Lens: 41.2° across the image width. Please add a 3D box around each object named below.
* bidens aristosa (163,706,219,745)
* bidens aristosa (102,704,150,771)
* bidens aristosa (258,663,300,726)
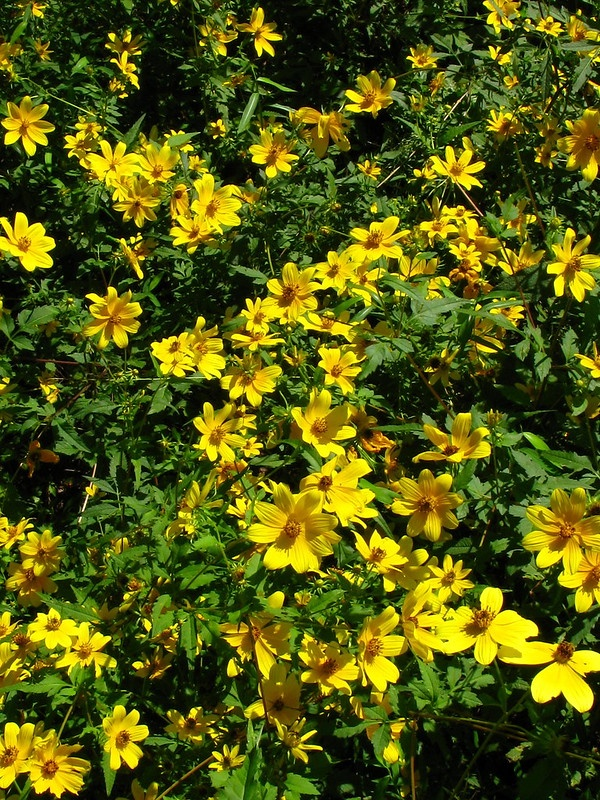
[{"bbox_3d":[-0.270,0.783,1.920,0.164,0.084,0.072,-1,-10,42],"label":"bidens aristosa"},{"bbox_3d":[-0.384,0.731,1.746,0.097,0.115,0.088,8,-7,-13],"label":"bidens aristosa"},{"bbox_3d":[-0.039,0.592,1.601,0.082,0.123,0.165,6,-7,1],"label":"bidens aristosa"}]
